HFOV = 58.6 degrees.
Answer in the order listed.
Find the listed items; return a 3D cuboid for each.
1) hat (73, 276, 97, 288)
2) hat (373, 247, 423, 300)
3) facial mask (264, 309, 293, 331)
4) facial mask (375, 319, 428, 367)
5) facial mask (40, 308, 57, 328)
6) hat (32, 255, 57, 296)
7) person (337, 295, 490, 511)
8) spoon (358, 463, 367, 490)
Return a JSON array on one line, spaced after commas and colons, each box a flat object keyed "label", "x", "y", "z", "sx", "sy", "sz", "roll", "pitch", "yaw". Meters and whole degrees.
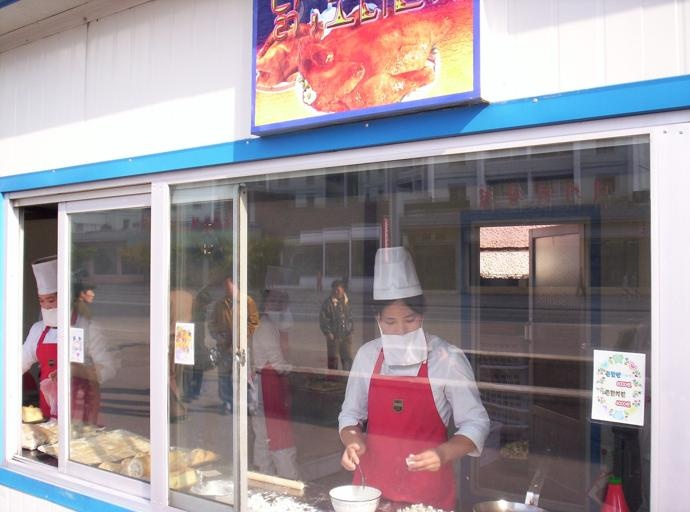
[{"label": "hat", "x": -1.566, "y": 0.145, "z": 3.690, "sx": 0.106, "sy": 0.042, "sz": 0.078, "roll": 5, "pitch": 0, "yaw": 22}, {"label": "hat", "x": 0.247, "y": 0.101, "z": 3.120, "sx": 0.226, "sy": 0.274, "sz": 0.263, "roll": -6, "pitch": -4, "yaw": 1}, {"label": "facial mask", "x": -0.382, "y": 0.355, "z": 3.496, "sx": 0.123, "sy": 0.139, "sz": 0.092, "roll": -18, "pitch": 13, "yaw": -39}, {"label": "facial mask", "x": 0.305, "y": 0.460, "z": 3.197, "sx": 0.182, "sy": 0.164, "sz": 0.197, "roll": -4, "pitch": -22, "yaw": 3}, {"label": "facial mask", "x": -2.047, "y": 0.428, "z": 4.264, "sx": 0.114, "sy": 0.100, "sz": 0.122, "roll": 2, "pitch": -5, "yaw": -2}, {"label": "hat", "x": -2.052, "y": 0.132, "z": 4.219, "sx": 0.225, "sy": 0.251, "sz": 0.204, "roll": -7, "pitch": 11, "yaw": -29}, {"label": "person", "x": 0.321, "y": 0.716, "z": 3.044, "sx": 0.748, "sy": 1.022, "sz": 0.323, "roll": 0, "pitch": 1, "yaw": 14}, {"label": "spoon", "x": 0.082, "y": 1.073, "z": 2.981, "sx": 0.026, "sy": 0.137, "sz": 0.018, "roll": -23, "pitch": 44, "yaw": -14}]
